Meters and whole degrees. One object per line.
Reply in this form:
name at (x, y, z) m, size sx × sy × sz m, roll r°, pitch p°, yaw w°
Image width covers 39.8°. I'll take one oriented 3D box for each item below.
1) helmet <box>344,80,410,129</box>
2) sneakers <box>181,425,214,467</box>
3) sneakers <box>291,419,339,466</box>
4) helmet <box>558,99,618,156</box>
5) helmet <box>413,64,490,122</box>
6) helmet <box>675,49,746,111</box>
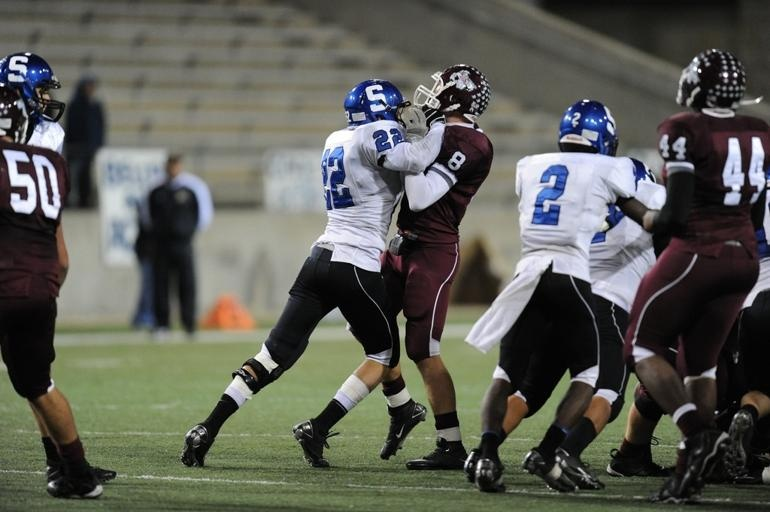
helmet at (-0.053, -1.073, 7.556) m, size 0.456 × 0.344 × 0.355 m, roll -1°, pitch 14°, yaw -1°
sneakers at (-1.255, 1.280, 7.187) m, size 0.132 × 0.274 × 0.226 m, roll -3°, pitch 11°, yaw -32°
sneakers at (-0.462, 1.294, 7.381) m, size 0.279 × 0.201 × 0.269 m, roll 5°, pitch 2°, yaw 31°
helmet at (1.389, -0.828, 7.120) m, size 0.367 × 0.417 × 0.484 m, roll 10°, pitch 11°, yaw 25°
helmet at (0.500, -1.166, 7.576) m, size 0.544 × 0.413 × 0.432 m, roll 12°, pitch 14°, yaw 20°
helmet at (2.067, -1.119, 6.723) m, size 0.417 × 0.367 × 0.335 m, roll 18°, pitch 24°, yaw 37°
